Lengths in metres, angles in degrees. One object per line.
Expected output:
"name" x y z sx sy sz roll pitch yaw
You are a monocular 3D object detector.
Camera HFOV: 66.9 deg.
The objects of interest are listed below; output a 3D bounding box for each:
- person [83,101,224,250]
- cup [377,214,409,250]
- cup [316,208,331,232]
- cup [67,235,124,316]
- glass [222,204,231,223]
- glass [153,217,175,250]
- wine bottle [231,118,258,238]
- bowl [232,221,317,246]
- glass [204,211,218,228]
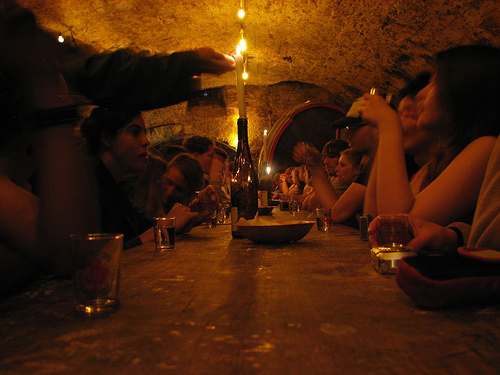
"person" -0.811 -0.055 2.692 0.995 1.021 0.699 7 -6 -11
"cup" 0.453 0.151 1.253 0.109 0.108 0.112 -1 -7 0
"cup" 0.436 0.196 2.177 0.102 0.151 0.107 -3 -2 0
"cup" -0.319 0.169 0.797 0.107 0.161 0.103 2 7 0
"glass" -0.202 0.236 3.339 0.110 0.125 0.110 -1 -5 -3
"glass" -0.360 0.195 1.594 0.125 0.139 0.126 -2 -3 4
"wine bottle" -0.027 -0.071 1.885 0.154 0.613 0.149 -2 3 0
"bowl" 0.115 0.193 1.671 0.403 0.097 0.361 -1 0 -44
"glass" -0.259 0.219 2.526 0.106 0.104 0.069 0 -1 -5
